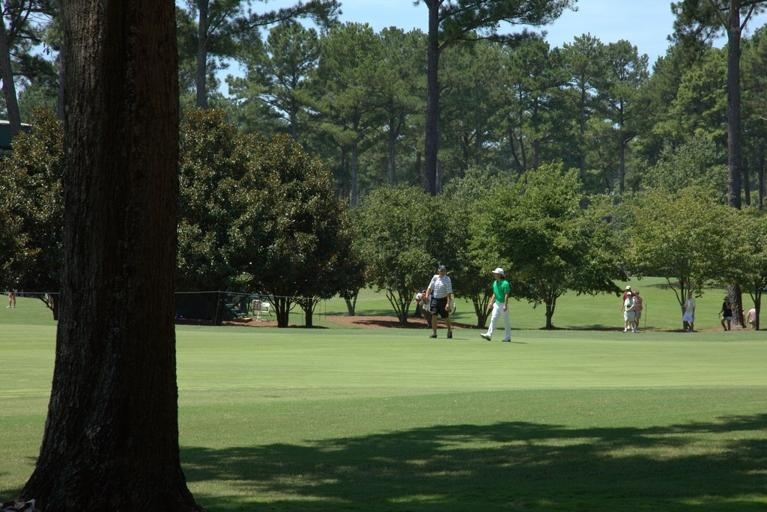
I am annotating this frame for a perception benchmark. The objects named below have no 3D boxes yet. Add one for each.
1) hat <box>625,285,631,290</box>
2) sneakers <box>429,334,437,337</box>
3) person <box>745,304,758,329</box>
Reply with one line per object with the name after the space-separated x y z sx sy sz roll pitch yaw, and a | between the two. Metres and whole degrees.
15.359 2.002 89.440 0.306 0.391 0.430 0 -7 6 | hat
2.237 3.747 66.062 0.375 0.147 0.126 3 2 45 | sneakers
21.343 3.768 82.259 0.459 1.426 3.057 2 12 14 | person
